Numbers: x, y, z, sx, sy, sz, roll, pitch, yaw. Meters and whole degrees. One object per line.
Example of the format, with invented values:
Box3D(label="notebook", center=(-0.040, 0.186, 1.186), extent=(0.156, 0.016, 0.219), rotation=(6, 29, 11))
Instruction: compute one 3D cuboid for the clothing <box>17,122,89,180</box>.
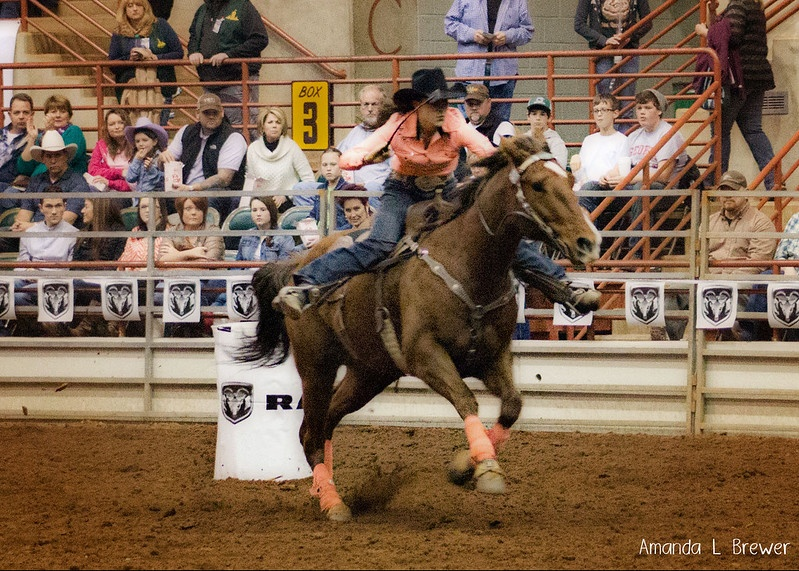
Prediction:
Box3D(label="clothing", center=(-5.200, -2.009, 27.449), extent=(0.762, 0.982, 0.941), rotation=(-10, 35, -10))

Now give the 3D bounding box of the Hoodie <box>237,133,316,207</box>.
Box3D(label="Hoodie", center=(-1.795, -1.576, 26.774), extent=(1.014, 1.118, 0.691), rotation=(-4, 21, 0))

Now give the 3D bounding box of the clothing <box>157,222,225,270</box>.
Box3D(label="clothing", center=(-2.797, -0.729, 25.885), extent=(0.831, 0.408, 0.991), rotation=(-3, 23, 5))

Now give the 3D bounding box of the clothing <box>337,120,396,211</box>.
Box3D(label="clothing", center=(-0.731, -1.754, 25.754), extent=(0.479, 1.062, 1.990), rotation=(9, -2, -20))

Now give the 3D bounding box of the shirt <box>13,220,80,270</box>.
Box3D(label="shirt", center=(-4.992, -0.638, 26.131), extent=(0.932, 0.795, 0.505), rotation=(10, 38, -4))

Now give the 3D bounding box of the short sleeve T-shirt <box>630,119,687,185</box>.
Box3D(label="short sleeve T-shirt", center=(3.576, -1.932, 26.253), extent=(0.376, 0.652, 0.651), rotation=(-4, 16, -33))

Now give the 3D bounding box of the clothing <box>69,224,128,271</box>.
Box3D(label="clothing", center=(-4.194, -0.522, 25.956), extent=(0.854, 0.844, 0.483), rotation=(4, -4, 9))

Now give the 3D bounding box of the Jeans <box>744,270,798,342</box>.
Box3D(label="Jeans", center=(5.019, 0.254, 24.617), extent=(0.708, 0.924, 0.642), rotation=(0, 2, 3))

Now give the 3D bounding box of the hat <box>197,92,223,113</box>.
Box3D(label="hat", center=(-2.785, -2.719, 27.060), extent=(0.371, 0.224, 0.539), rotation=(-1, 6, -11))

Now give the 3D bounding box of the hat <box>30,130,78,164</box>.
Box3D(label="hat", center=(-5.098, -2.061, 26.794), extent=(0.477, 0.227, 0.542), rotation=(-3, -8, -16))

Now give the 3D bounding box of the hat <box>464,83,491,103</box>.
Box3D(label="hat", center=(1.131, -2.777, 26.146), extent=(0.338, 0.267, 0.498), rotation=(0, 2, 2))

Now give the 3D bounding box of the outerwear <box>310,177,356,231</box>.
Box3D(label="outerwear", center=(-0.871, -1.105, 24.896), extent=(0.712, 0.726, 0.381), rotation=(-2, -13, 4))

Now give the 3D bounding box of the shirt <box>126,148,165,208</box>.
Box3D(label="shirt", center=(-3.717, -1.634, 27.038), extent=(0.540, 0.629, 0.454), rotation=(6, -2, 11))

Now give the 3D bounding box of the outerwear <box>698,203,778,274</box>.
Box3D(label="outerwear", center=(4.692, -0.678, 25.234), extent=(0.690, 1.145, 1.280), rotation=(3, -1, -39))

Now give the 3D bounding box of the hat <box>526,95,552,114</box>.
Box3D(label="hat", center=(2.037, -2.612, 26.251), extent=(0.423, 0.211, 0.627), rotation=(5, -3, 10))

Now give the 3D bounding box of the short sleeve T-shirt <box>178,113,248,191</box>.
Box3D(label="short sleeve T-shirt", center=(-2.804, -1.996, 27.204), extent=(1.309, 1.228, 0.691), rotation=(5, -6, 32))

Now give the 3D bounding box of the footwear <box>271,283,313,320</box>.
Box3D(label="footwear", center=(-1.258, 0.182, 21.995), extent=(0.427, 0.200, 0.312), rotation=(18, 39, 38))

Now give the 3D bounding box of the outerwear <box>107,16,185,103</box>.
Box3D(label="outerwear", center=(-3.987, -3.529, 28.834), extent=(1.155, 1.398, 0.764), rotation=(-8, 0, -5))

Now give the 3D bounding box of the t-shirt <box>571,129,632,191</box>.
Box3D(label="t-shirt", center=(2.921, -1.772, 25.967), extent=(0.949, 0.967, 0.572), rotation=(-5, -15, 34))

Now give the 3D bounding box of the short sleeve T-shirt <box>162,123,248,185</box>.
Box3D(label="short sleeve T-shirt", center=(-2.885, -1.961, 27.068), extent=(1.166, 1.013, 0.598), rotation=(16, 12, 17))

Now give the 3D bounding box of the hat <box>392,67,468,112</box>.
Box3D(label="hat", center=(0.308, -2.328, 21.724), extent=(0.519, 0.282, 0.677), rotation=(-10, -2, -17))

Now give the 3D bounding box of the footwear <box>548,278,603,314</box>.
Box3D(label="footwear", center=(2.208, 0.133, 21.728), extent=(0.560, 0.374, 0.809), rotation=(-7, 8, -13))

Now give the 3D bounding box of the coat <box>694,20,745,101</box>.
Box3D(label="coat", center=(4.685, -3.433, 26.992), extent=(0.748, 1.177, 0.531), rotation=(-1, 2, -24))
